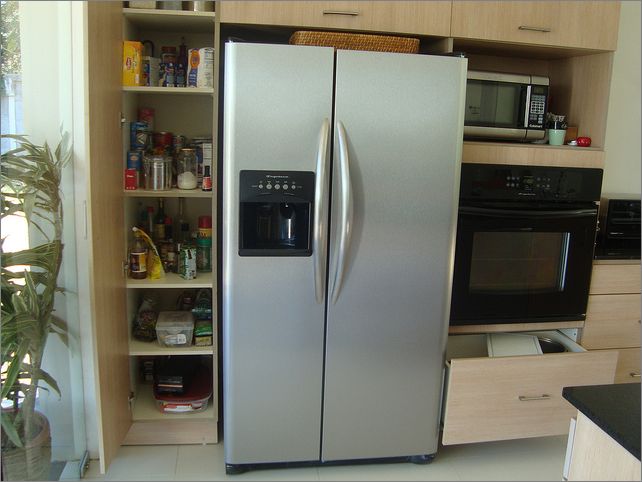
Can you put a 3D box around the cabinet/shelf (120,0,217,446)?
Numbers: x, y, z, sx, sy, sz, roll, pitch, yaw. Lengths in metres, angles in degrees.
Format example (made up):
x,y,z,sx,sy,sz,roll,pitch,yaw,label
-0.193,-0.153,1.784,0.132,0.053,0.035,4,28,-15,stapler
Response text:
x,y,z,sx,sy,sz,roll,pitch,yaw,label
-0.766,-0.033,2.815,0.546,2.143,0.516,-2,11,-10,cabinet/shelf

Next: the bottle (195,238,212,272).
x,y,z,sx,sy,sz,roll,pitch,yaw,label
-0.599,0.068,2.820,0.078,0.190,0.055,-2,11,-10,bottle

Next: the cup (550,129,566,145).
x,y,z,sx,sy,sz,roll,pitch,yaw,label
1.217,-0.539,2.866,0.078,0.069,0.085,0,9,0,cup

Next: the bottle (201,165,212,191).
x,y,z,sx,sy,sz,roll,pitch,yaw,label
-0.557,-0.310,2.692,0.045,0.128,0.114,-2,12,-13,bottle

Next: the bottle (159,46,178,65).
x,y,z,sx,sy,sz,roll,pitch,yaw,label
-0.751,-0.922,2.733,0.081,0.090,0.104,-3,12,-15,bottle

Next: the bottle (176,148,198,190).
x,y,z,sx,sy,sz,roll,pitch,yaw,label
-0.661,-0.357,2.734,0.103,0.197,0.074,-2,11,-13,bottle

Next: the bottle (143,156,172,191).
x,y,z,sx,sy,sz,roll,pitch,yaw,label
-0.797,-0.338,2.715,0.143,0.165,0.133,-5,12,-23,bottle

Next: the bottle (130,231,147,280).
x,y,z,sx,sy,sz,roll,pitch,yaw,label
-0.911,0.060,2.753,0.091,0.241,0.137,-2,11,-13,bottle

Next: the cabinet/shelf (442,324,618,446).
x,y,z,sx,sy,sz,roll,pitch,yaw,label
0.953,0.736,2.672,0.586,0.284,0.586,-2,14,-6,cabinet/shelf
